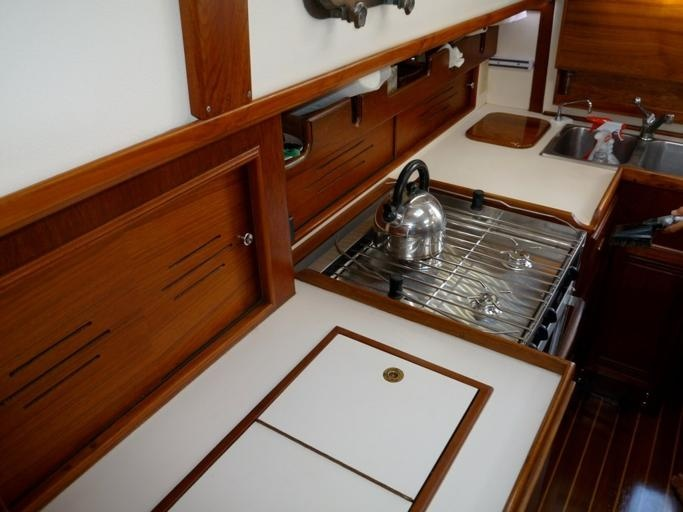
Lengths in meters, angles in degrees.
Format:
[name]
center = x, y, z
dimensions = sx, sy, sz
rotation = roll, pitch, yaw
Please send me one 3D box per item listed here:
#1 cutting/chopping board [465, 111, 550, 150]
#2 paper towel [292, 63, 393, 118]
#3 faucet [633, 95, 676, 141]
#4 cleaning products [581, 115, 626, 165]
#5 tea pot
[cutting/chopping board]
center = 0.888, -0.673, 2.434
dimensions = 0.321, 0.311, 0.025
rotation = 31, -38, 42
[paper towel]
center = -0.018, -0.566, 1.481
dimensions = 0.309, 0.337, 0.159
rotation = 15, -61, 22
[faucet]
center = 1.587, -0.691, 2.344
dimensions = 0.173, 0.238, 0.190
rotation = 9, 27, 4
[cleaning products]
center = 1.377, -0.607, 2.379
dimensions = 0.190, 0.173, 0.253
rotation = 20, -57, 32
[tea pot]
center = 0.242, -0.145, 1.570
dimensions = 0.246, 0.211, 0.327
rotation = 20, -53, 33
